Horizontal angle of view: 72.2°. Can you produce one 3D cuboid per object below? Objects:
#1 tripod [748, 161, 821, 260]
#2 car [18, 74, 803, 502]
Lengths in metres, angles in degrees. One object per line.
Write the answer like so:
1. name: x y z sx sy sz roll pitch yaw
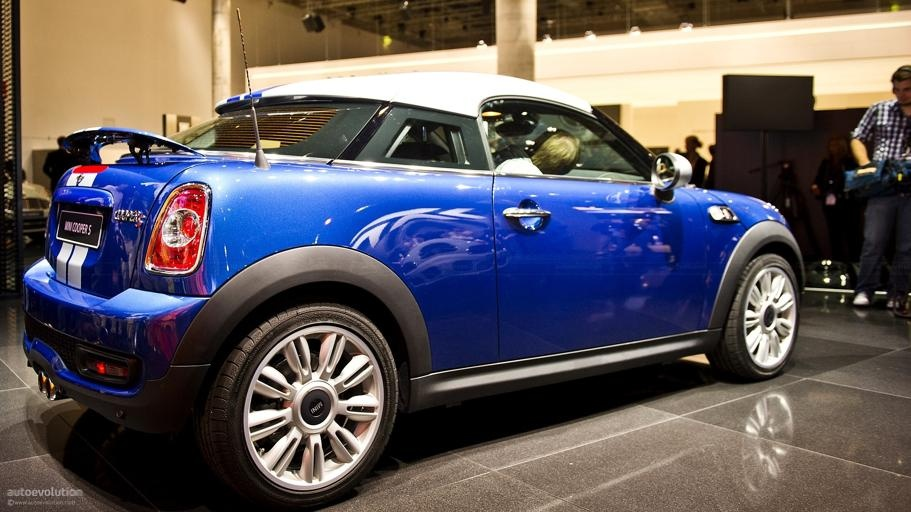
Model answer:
1. tripod: 5.036 -0.729 9.415 0.470 1.530 1.115 -12 4 -29
2. car: -0.093 0.105 4.192 4.204 1.576 2.483 -2 0 -31
